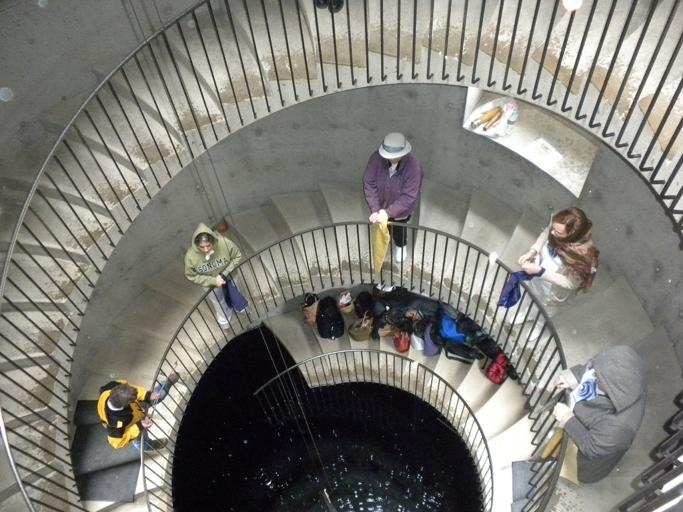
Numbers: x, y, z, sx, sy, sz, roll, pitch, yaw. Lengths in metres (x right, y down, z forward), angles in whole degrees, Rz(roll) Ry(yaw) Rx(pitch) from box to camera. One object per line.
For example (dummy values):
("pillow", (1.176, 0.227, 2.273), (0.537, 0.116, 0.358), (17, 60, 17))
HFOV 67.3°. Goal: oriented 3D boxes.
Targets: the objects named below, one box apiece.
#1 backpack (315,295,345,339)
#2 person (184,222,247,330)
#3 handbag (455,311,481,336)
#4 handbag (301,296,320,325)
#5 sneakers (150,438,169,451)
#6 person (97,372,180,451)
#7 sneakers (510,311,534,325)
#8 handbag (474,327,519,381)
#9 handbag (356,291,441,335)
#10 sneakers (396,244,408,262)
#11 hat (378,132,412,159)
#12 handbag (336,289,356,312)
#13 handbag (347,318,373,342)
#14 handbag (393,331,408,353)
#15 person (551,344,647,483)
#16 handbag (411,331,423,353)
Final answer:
("backpack", (-0.212, 1.181, 9.842), (0.448, 0.653, 0.392), (-26, 47, -21))
("person", (-1.918, 0.401, 8.079), (0.548, 2.198, 0.804), (21, 48, 24))
("handbag", (2.211, 1.221, 8.826), (0.467, 0.328, 0.172), (24, 49, 24))
("handbag", (-0.545, 0.972, 9.713), (0.338, 0.770, 0.260), (-21, 46, -19))
("sneakers", (-2.878, 2.979, 8.103), (0.260, 0.146, 0.092), (15, 51, -34))
("person", (-3.060, 2.429, 7.826), (0.663, 1.326, 0.706), (-8, 83, -4))
("sneakers", (2.628, 0.909, 7.390), (0.253, 0.184, 0.098), (-10, 73, 14))
("handbag", (2.642, 1.750, 8.724), (0.482, 1.190, 0.408), (-20, 5, 36))
("handbag", (1.092, 1.029, 9.616), (1.114, 0.436, 0.935), (-14, 93, 26))
("sneakers", (0.958, -0.022, 8.186), (0.121, 0.271, 0.301), (-1, 73, 11))
("hat", (0.803, -1.605, 7.443), (0.485, 0.231, 0.619), (2, 63, 10))
("handbag", (0.098, 0.867, 9.825), (0.280, 0.360, 0.196), (-29, 66, -4))
("handbag", (0.415, 1.450, 9.985), (0.501, 0.528, 0.377), (-29, 73, 6))
("handbag", (1.162, 1.634, 9.671), (0.249, 0.403, 0.177), (1, 32, 8))
("person", (2.996, 1.893, 5.902), (0.568, 1.492, 0.738), (10, 79, 6))
("handbag", (1.459, 1.630, 9.735), (0.190, 0.215, 0.372), (-14, 82, 18))
